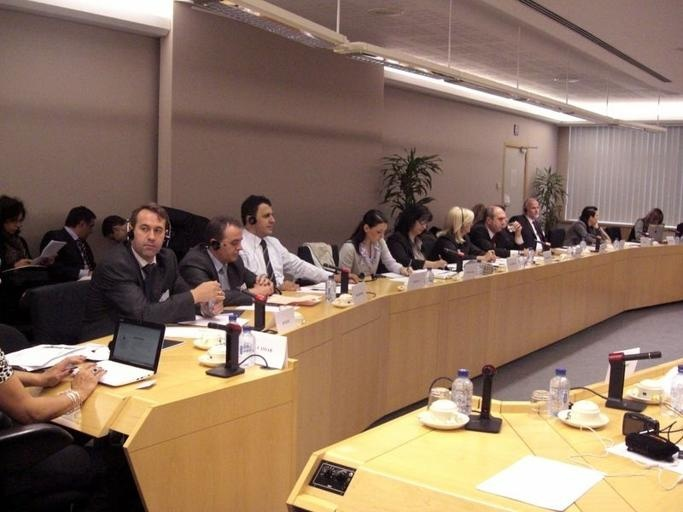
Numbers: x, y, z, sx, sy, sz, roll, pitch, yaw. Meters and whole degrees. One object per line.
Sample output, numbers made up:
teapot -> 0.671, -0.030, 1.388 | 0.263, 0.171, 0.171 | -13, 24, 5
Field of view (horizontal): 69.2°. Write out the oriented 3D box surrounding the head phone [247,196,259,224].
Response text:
head phone -> -0.733, -0.394, 4.141 | 0.091, 0.191, 0.138 | 9, 1, -26

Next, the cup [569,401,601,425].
cup -> 1.006, 0.647, 2.058 | 0.102, 0.068, 0.081 | -2, 2, 11

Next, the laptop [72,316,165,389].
laptop -> -1.004, 0.423, 2.209 | 0.327, 0.207, 0.284 | 6, 5, 36

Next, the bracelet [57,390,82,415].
bracelet -> -1.113, 0.594, 2.025 | 0.078, 0.039, 0.086 | 3, 20, -1

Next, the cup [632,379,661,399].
cup -> 1.423, 0.608, 2.304 | 0.085, 0.046, 0.086 | -1, 0, 0

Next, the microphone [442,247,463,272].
microphone -> 1.301, 0.007, 5.645 | 0.268, 0.321, 0.219 | 1, 1, 29

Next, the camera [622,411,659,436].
camera -> 1.170, 0.662, 1.951 | 0.075, 0.073, 0.042 | 8, 10, 36

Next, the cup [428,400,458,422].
cup -> 0.411, 0.609, 1.977 | 0.087, 0.056, 0.075 | 2, 4, 7

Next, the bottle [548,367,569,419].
bottle -> 0.969, 0.577, 2.207 | 0.088, 0.199, 0.241 | 5, 11, 26

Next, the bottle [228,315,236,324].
bottle -> -0.542, 0.312, 2.450 | 0.036, 0.064, 0.036 | 1, -2, 0

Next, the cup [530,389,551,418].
cup -> 0.883, 0.664, 2.230 | 0.069, 0.100, 0.099 | 0, -1, 18

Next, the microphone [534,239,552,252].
microphone -> 2.896, -0.154, 7.198 | 0.304, 0.269, 0.220 | 0, 3, 22
